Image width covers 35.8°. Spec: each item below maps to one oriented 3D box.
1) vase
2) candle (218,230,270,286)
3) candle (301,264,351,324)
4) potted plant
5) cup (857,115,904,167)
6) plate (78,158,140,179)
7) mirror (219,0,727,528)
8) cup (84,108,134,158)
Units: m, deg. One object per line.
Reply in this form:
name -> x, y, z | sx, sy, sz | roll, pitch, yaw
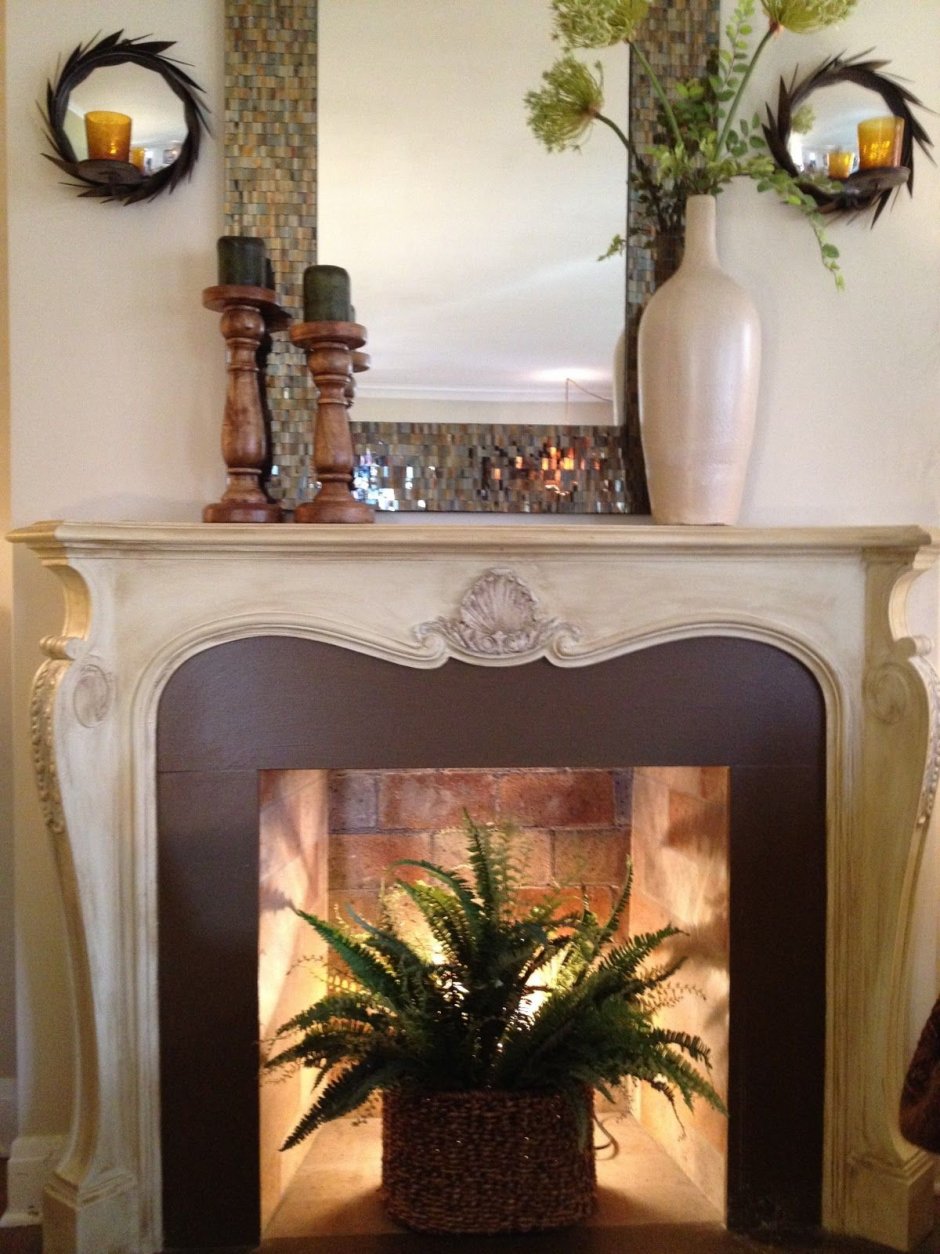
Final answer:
vase -> 0.339, -0.406, 2.170 | 0.145, 0.489, 0.140 | -9, 12, -43
candle -> -0.321, -0.556, 2.150 | 0.070, 0.084, 0.085 | -1, 9, 1
candle -> -0.206, -0.498, 2.118 | 0.085, 0.092, 0.081 | 6, 16, 18
potted plant -> -0.038, 0.647, 2.200 | 0.643, 0.482, 0.606 | -3, -7, -14
cup -> 0.625, -0.753, 2.227 | 0.063, 0.072, 0.040 | 2, 9, 14
plate -> -0.540, -0.696, 2.174 | 0.087, 0.020, 0.068 | -3, 9, -15
mirror -> -0.015, -0.598, 2.239 | 0.870, 1.033, 0.054 | 0, 5, -4
cup -> -0.538, -0.737, 2.154 | 0.074, 0.080, 0.073 | 2, 4, 0
